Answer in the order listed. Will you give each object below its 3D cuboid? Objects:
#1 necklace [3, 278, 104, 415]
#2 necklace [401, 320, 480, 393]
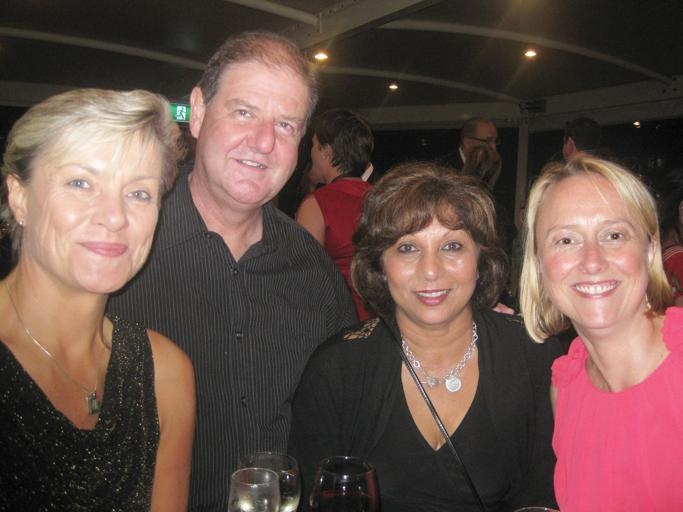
[{"bbox_3d":[-1.166,0.426,2.642,0.219,0.708,0.100,-38,24,-34],"label":"necklace"},{"bbox_3d":[0.556,0.553,3.312,0.281,0.341,0.090,-8,-26,5],"label":"necklace"}]
